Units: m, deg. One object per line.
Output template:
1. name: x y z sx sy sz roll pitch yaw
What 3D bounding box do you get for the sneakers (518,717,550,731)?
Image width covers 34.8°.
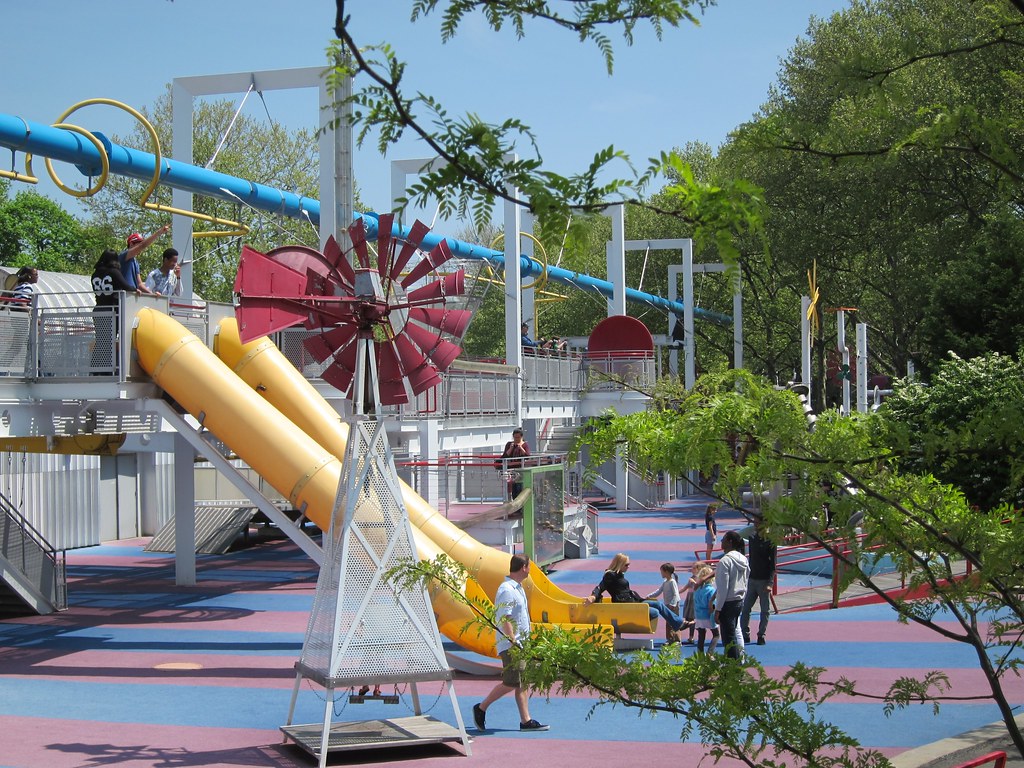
1. sneakers: 0.299 4.781 23.012 0.387 0.183 0.150 1 -2 -2

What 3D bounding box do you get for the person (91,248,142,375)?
1. person: -7.055 -1.245 28.514 0.615 2.155 0.451 1 -2 6

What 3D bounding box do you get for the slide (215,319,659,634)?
1. slide: -1.638 1.771 29.854 9.536 2.921 1.052 35 15 17

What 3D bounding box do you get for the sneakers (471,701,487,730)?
1. sneakers: -0.456 4.698 23.192 0.144 0.374 0.132 -6 4 16
